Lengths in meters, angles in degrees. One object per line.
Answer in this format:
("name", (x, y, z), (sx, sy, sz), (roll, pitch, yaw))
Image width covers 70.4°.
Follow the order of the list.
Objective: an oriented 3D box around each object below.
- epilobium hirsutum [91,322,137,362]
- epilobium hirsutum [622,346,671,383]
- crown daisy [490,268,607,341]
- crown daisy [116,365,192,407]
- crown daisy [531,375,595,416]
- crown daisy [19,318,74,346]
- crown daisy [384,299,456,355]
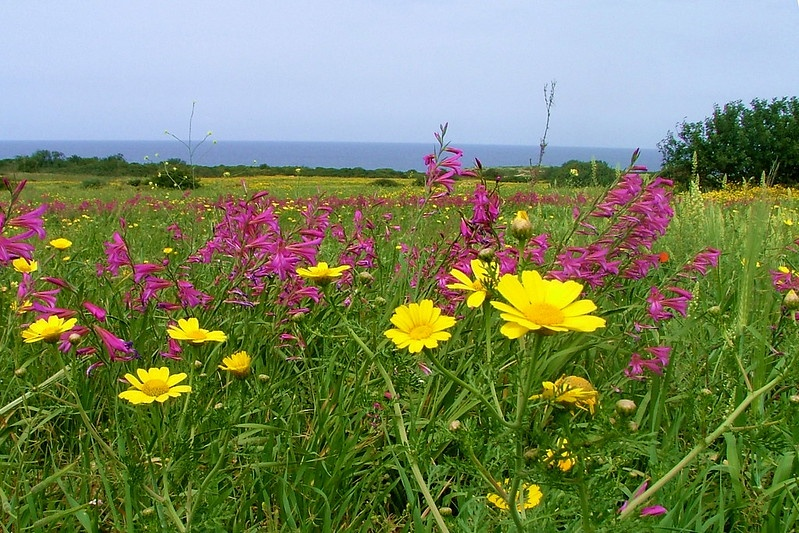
("epilobium hirsutum", (-1.179, 0.327, 2.329), (0.151, 0.190, 0.274), (-4, 14, -30))
("epilobium hirsutum", (1.133, 0.448, 2.577), (0.169, 0.077, 0.178), (-17, 28, -1))
("crown daisy", (0.441, 0.121, 1.744), (0.243, 0.084, 0.255), (5, 44, -3))
("crown daisy", (-0.845, 0.412, 1.964), (0.207, 0.050, 0.209), (21, 29, 37))
("crown daisy", (0.504, 0.383, 1.727), (0.145, 0.060, 0.146), (10, -3, 44))
("crown daisy", (-1.419, 0.264, 2.268), (0.167, 0.064, 0.172), (-11, 24, -16))
("crown daisy", (0.070, 0.195, 1.895), (0.213, 0.170, 0.278), (4, 13, 6))
